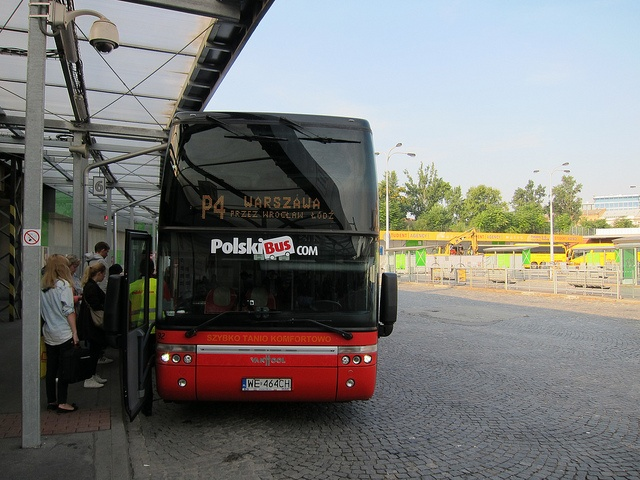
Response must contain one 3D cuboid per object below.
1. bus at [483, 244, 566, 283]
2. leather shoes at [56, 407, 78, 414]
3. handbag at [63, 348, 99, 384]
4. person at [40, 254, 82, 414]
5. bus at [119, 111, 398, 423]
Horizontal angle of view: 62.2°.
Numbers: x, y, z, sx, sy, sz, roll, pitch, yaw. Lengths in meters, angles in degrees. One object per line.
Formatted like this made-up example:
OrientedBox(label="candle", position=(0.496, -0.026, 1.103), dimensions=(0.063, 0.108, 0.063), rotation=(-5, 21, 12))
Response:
OrientedBox(label="bus", position=(22.437, 1.477, 58.814), dimensions=(8.894, 2.621, 2.502), rotation=(-2, 13, 17))
OrientedBox(label="leather shoes", position=(-3.451, 2.325, 7.280), dimensions=(0.259, 0.084, 0.092), rotation=(-1, -1, -13))
OrientedBox(label="handbag", position=(-3.132, 1.677, 7.261), dimensions=(0.550, 0.444, 0.181), rotation=(-12, -8, 27))
OrientedBox(label="person", position=(-3.565, 1.272, 7.329), dimensions=(0.587, 2.145, 0.349), rotation=(3, 3, 30))
OrientedBox(label="bus", position=(-0.935, 0.305, 9.823), dimensions=(3.075, 3.963, 5.931), rotation=(1, 1, -7))
